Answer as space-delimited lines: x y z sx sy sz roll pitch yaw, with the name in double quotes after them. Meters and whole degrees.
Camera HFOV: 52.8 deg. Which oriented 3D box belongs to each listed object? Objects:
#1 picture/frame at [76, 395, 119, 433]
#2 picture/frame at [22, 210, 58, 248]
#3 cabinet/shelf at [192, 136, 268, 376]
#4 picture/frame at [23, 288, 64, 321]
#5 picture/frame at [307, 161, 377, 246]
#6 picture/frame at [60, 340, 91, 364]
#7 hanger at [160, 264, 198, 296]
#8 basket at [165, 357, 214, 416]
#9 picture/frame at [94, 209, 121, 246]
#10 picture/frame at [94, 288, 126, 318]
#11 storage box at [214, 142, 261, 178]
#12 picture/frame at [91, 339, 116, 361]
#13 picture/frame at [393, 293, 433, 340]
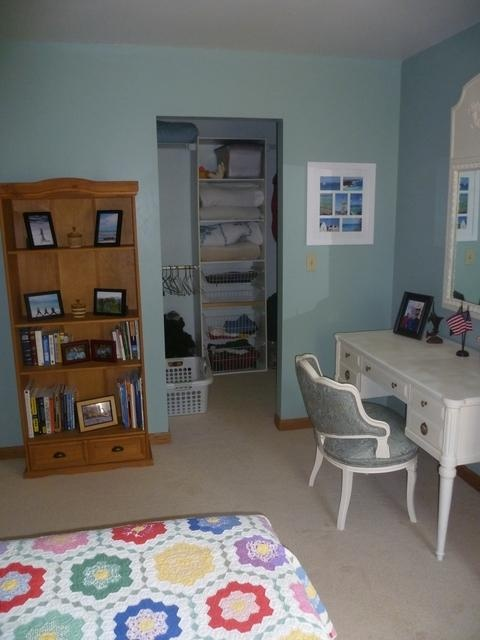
-0.906 0.607 3.052 0.195 0.176 0.015 -8 -8 -32 "picture/frame"
-1.168 -0.530 2.811 0.217 0.312 0.038 -6 -6 -44 "picture/frame"
-0.077 -0.563 4.632 0.675 2.245 0.750 -2 10 -5 "cabinet/shelf"
-1.176 -0.085 2.887 0.170 0.159 0.018 -9 4 -40 "picture/frame"
0.677 -0.824 3.321 0.504 0.594 0.028 -3 10 -17 "picture/frame"
-1.019 0.203 2.969 0.126 0.122 0.010 -6 5 -34 "picture/frame"
-0.580 -0.364 4.695 0.326 0.329 0.289 -3 10 -9 "hanger"
-0.433 0.542 3.942 0.317 0.309 0.472 -1 8 -7 "basket"
-0.790 -0.550 2.893 0.199 0.300 0.027 1 -4 5 "picture/frame"
-0.792 -0.098 2.955 0.158 0.137 0.019 1 2 11 "picture/frame"
0.001 -1.450 4.439 0.292 0.264 0.402 -2 11 -10 "storage box"
-0.842 0.192 2.991 0.119 0.101 0.005 2 10 26 "picture/frame"
1.078 -0.014 2.994 0.041 0.395 0.302 19 -8 -21 "picture/frame"
